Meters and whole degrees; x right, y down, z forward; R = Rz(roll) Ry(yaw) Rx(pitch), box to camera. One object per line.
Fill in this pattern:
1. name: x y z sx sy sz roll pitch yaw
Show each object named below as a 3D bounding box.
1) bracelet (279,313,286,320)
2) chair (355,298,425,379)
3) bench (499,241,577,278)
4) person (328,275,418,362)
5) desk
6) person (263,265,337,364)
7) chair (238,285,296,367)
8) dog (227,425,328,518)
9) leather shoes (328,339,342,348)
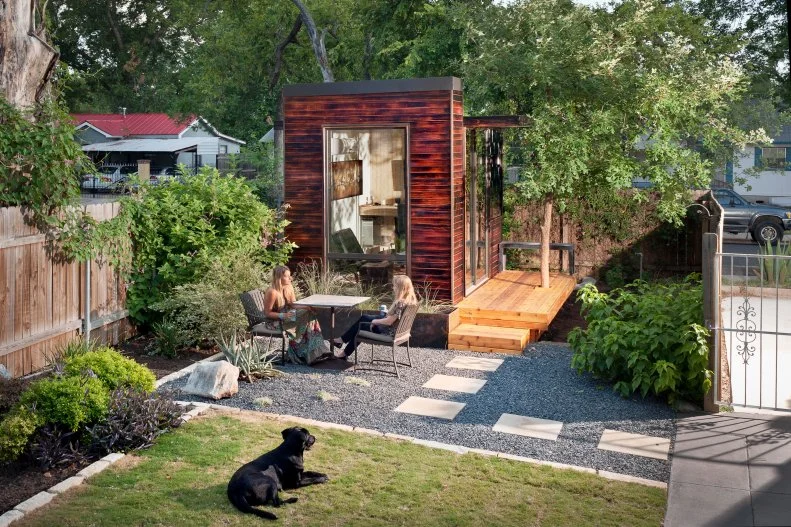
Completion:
1. bracelet: -1.879 0.890 10.700 0.105 0.091 0.081 0 12 -3
2. chair: -0.135 1.204 10.754 1.072 1.207 1.051 7 3 40
3. bench: 3.703 -0.128 16.618 1.933 0.896 0.626 0 8 16
4. person: -0.363 0.978 10.831 1.350 1.660 0.706 12 -4 17
5. desk: -1.118 1.129 11.341 1.071 1.134 1.118 4 14 16
6. person: -1.716 0.889 10.979 1.057 1.647 0.567 -3 12 -15
7. chair: -2.159 1.034 11.233 1.026 1.087 1.023 -8 14 -35
8. dog: -1.299 2.329 7.129 0.998 0.544 0.697 -20 24 -40
9. leather shoes: -1.085 1.431 11.414 0.281 0.128 0.098 12 7 4
